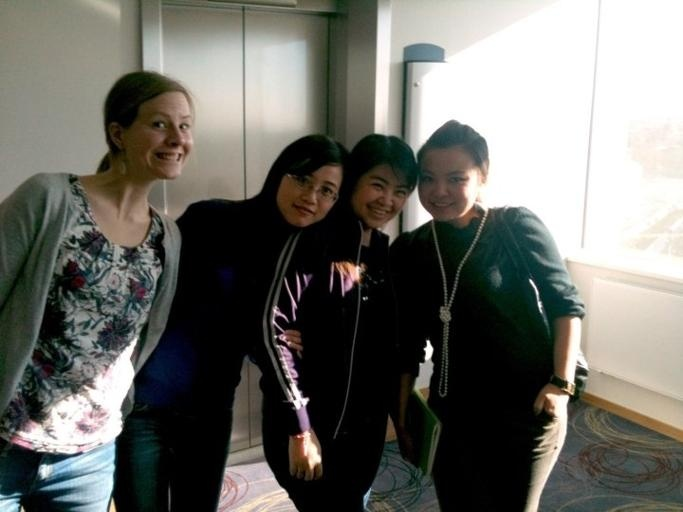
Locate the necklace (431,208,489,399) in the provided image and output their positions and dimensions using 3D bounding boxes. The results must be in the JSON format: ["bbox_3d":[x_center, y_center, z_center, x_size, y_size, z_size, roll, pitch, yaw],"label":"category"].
[{"bbox_3d":[0.453,0.191,2.409,0.235,0.747,0.042,3,-3,26],"label":"necklace"}]

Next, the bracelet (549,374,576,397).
[{"bbox_3d":[0.857,0.502,2.276,0.069,0.042,0.070,20,2,-15],"label":"bracelet"}]

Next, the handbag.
[{"bbox_3d":[0.839,0.181,2.383,0.240,0.654,0.489,-15,3,-36],"label":"handbag"}]

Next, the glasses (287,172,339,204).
[{"bbox_3d":[-0.106,-0.259,2.233,0.186,0.103,0.053,-1,15,-6],"label":"glasses"}]
